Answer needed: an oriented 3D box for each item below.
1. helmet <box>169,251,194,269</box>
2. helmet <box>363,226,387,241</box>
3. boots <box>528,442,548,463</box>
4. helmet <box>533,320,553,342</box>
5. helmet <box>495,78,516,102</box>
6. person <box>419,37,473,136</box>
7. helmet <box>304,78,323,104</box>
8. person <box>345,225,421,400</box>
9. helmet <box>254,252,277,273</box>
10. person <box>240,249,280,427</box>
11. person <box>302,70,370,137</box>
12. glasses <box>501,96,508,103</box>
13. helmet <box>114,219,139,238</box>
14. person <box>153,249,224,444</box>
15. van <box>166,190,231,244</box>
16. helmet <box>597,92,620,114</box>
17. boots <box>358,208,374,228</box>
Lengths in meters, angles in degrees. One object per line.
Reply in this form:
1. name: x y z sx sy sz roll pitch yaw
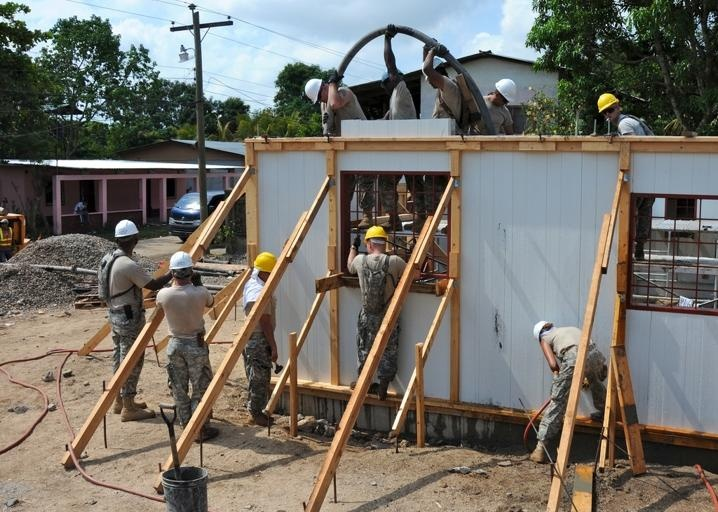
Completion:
1. helmet: -2.458 0.065 10.893 0.310 0.244 0.316 -2 7 -14
2. helmet: 0.242 -0.334 11.505 0.307 0.193 0.334 -1 6 1
3. boots: 2.449 2.685 10.736 0.188 0.336 0.127 12 -2 18
4. helmet: 2.512 0.989 10.844 0.208 0.266 0.201 24 45 -4
5. helmet: 2.389 -2.635 12.607 0.275 0.377 0.485 4 8 38
6. person: 1.387 -2.571 12.258 0.769 1.370 1.262 1 7 15
7. helmet: -0.769 -2.821 13.325 0.171 0.382 0.469 17 37 -7
8. person: 0.275 0.859 11.612 0.917 2.589 0.591 1 7 16
9. helmet: -1.379 0.111 11.614 0.295 0.311 0.252 11 14 10
10. person: -1.441 1.254 11.557 0.523 2.560 0.954 -2 7 -9
11. person: -0.405 -2.503 12.957 0.847 1.055 1.282 -2 7 -9
12. glasses: 2.338 -2.487 12.589 0.083 0.022 0.083 28 -21 41
13. helmet: -3.544 -0.403 12.013 0.404 0.300 0.533 -1 -1 -6
14. person: -2.389 1.149 10.889 0.729 2.399 0.590 -2 7 -12
15. van: -6.071 -1.364 29.745 2.007 2.094 3.837 0 8 20
16. helmet: 3.661 -2.257 11.598 0.255 0.282 0.378 2 7 21
17. boots: 0.115 -0.626 12.943 0.244 0.298 0.417 -1 7 1
